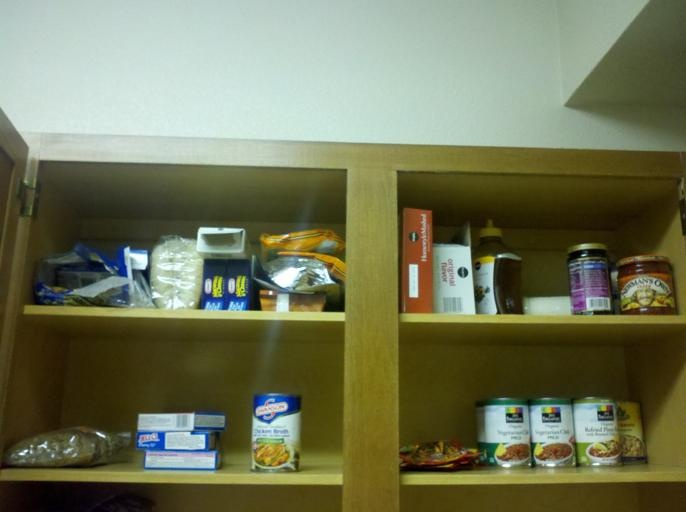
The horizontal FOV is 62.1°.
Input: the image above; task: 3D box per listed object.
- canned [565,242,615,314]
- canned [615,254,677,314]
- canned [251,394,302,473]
[{"bbox_3d":[0.717,0.071,1.672,0.116,0.211,0.050,-7,-17,19],"label":"canned"},{"bbox_3d":[0.868,0.095,1.737,0.164,0.185,0.166,0,-17,7],"label":"canned"},{"bbox_3d":[-0.182,0.479,1.547,0.126,0.199,0.078,2,-17,-10],"label":"canned"}]
